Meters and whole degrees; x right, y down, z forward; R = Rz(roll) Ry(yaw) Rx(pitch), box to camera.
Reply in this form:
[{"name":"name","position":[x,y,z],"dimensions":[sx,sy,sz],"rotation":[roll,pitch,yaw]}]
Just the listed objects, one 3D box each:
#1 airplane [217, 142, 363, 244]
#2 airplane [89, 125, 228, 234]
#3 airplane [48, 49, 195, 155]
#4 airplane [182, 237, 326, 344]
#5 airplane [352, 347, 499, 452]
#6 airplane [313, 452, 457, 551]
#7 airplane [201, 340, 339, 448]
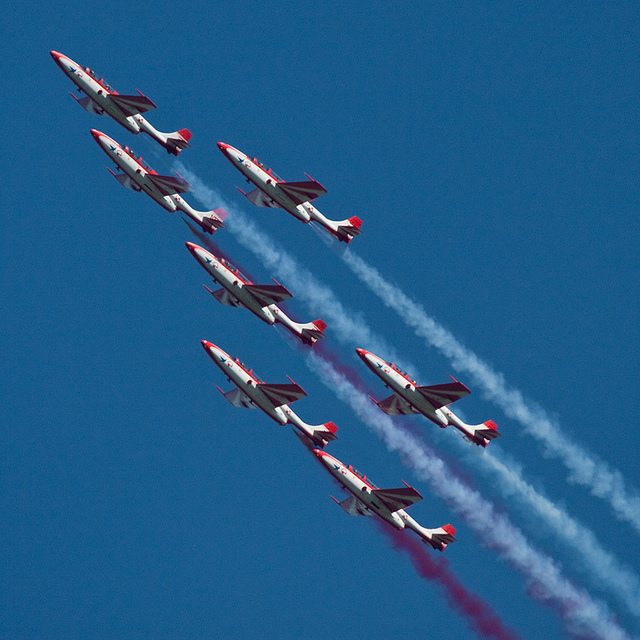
[{"name":"airplane","position":[-1.691,-7.085,87.633],"dimensions":[8.220,5.581,1.762],"rotation":[27,77,6]},{"name":"airplane","position":[-8.783,-7.788,88.797],"dimensions":[8.864,7.685,2.189],"rotation":[41,76,-18]},{"name":"airplane","position":[-11.053,-12.404,88.890],"dimensions":[9.403,8.025,2.339],"rotation":[40,71,-26]},{"name":"airplane","position":[-3.454,-1.723,87.313],"dimensions":[9.722,8.047,2.335],"rotation":[41,70,-18]},{"name":"airplane","position":[5.893,4.351,86.166],"dimensions":[7.958,4.058,2.473],"rotation":[25,77,5]},{"name":"airplane","position":[3.526,9.801,85.069],"dimensions":[8.855,7.682,1.959],"rotation":[41,92,-5]},{"name":"airplane","position":[-1.790,5.209,86.671],"dimensions":[7.756,9.437,2.445],"rotation":[31,85,-19]}]
